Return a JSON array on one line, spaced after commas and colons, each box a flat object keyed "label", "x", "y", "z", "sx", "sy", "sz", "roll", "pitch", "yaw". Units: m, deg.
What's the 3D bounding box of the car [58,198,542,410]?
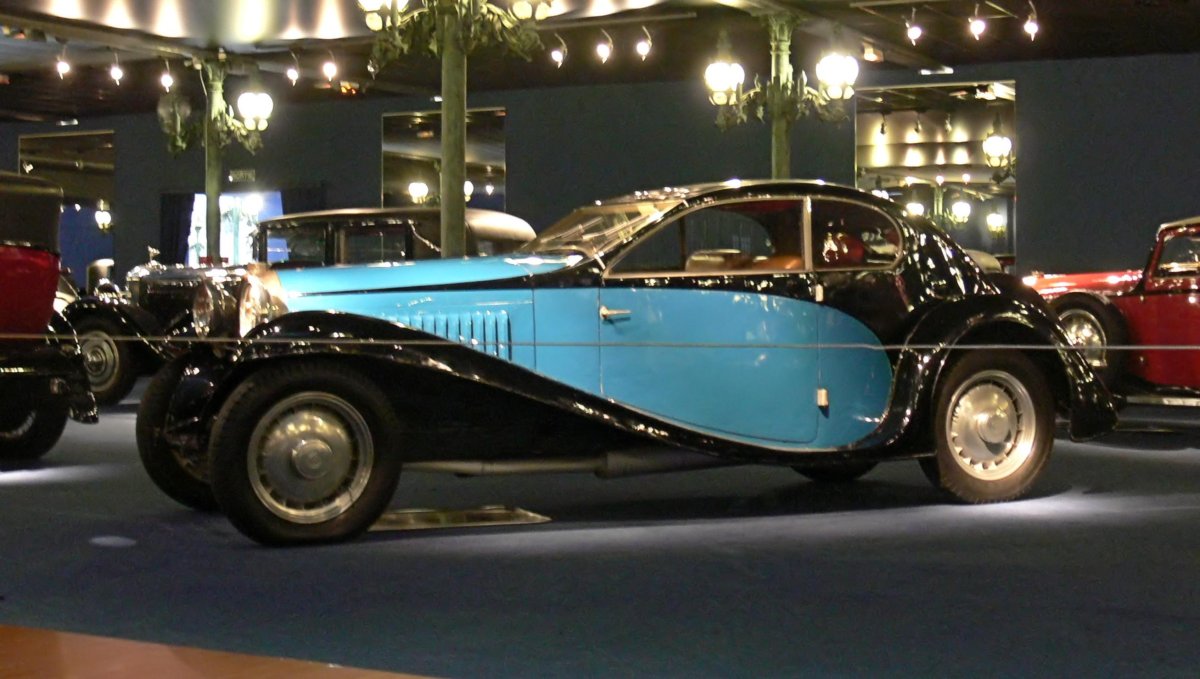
[{"label": "car", "x": -4.158, "y": -0.354, "z": 12.121, "sx": 6.772, "sy": 2.362, "sz": 2.803, "roll": 0, "pitch": -2, "yaw": -9}]
